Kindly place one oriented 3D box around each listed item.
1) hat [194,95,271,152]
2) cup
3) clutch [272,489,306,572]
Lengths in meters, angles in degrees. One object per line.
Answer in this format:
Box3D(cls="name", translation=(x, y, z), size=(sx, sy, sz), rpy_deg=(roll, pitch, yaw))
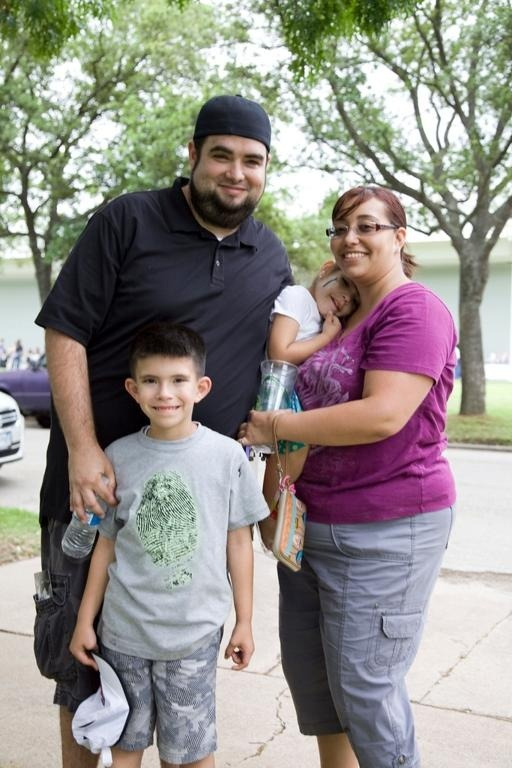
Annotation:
Box3D(cls="hat", translation=(-0.070, -0.794, 2.150), size=(0.230, 0.132, 0.120), rpy_deg=(1, 3, -5))
Box3D(cls="cup", translation=(0.060, 0.067, 2.168), size=(0.171, 0.271, 0.150), rpy_deg=(4, 6, -14))
Box3D(cls="clutch", translation=(0.094, 0.396, 1.930), size=(0.049, 0.184, 0.198), rpy_deg=(-8, -25, 27))
